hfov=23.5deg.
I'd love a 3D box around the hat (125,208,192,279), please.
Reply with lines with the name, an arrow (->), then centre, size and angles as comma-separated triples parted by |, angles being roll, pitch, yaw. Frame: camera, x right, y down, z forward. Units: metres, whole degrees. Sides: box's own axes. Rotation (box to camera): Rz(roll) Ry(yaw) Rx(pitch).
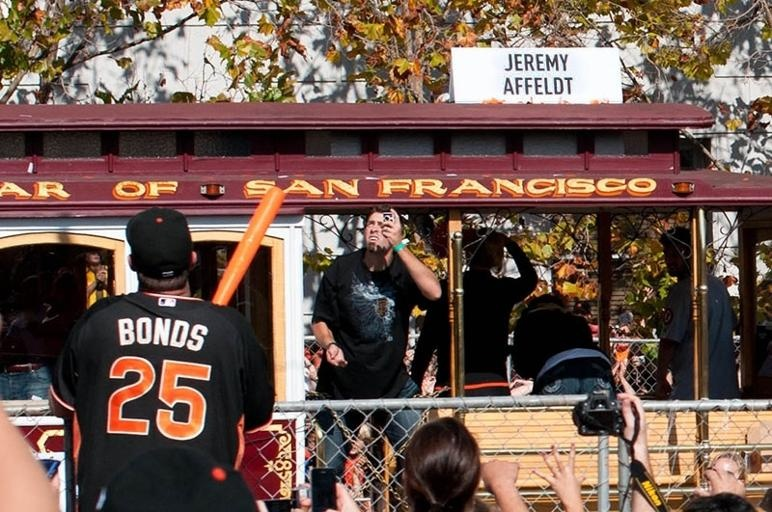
hat -> -2.070, -0.111, 16.979 | 0.595, 0.657, 0.202 | -1, -12, -8

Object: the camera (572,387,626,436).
camera -> 1.967, 1.447, 17.049 | 0.459, 0.428, 0.178 | -4, -12, 4
